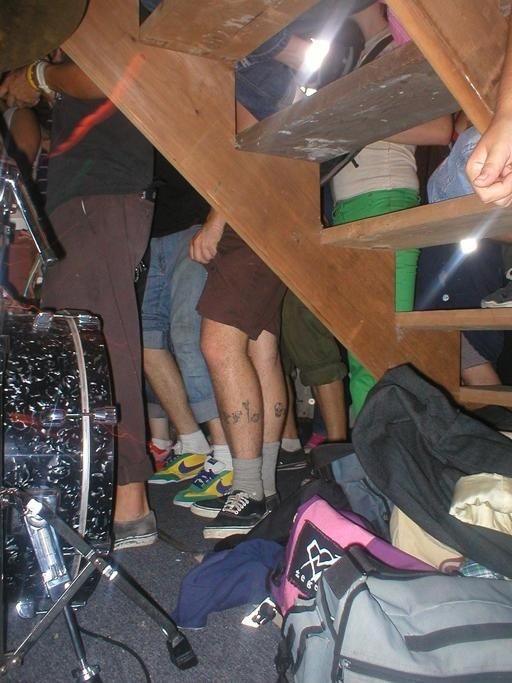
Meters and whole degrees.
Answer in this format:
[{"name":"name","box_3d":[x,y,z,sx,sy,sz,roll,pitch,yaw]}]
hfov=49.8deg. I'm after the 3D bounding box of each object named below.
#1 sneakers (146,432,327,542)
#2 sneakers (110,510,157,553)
[{"name":"sneakers","box_3d":[-0.080,0.470,1.760,0.458,0.148,0.284,10,-3,-34]},{"name":"sneakers","box_3d":[-0.342,0.547,1.571,0.192,0.067,0.078,3,79,-20]}]
